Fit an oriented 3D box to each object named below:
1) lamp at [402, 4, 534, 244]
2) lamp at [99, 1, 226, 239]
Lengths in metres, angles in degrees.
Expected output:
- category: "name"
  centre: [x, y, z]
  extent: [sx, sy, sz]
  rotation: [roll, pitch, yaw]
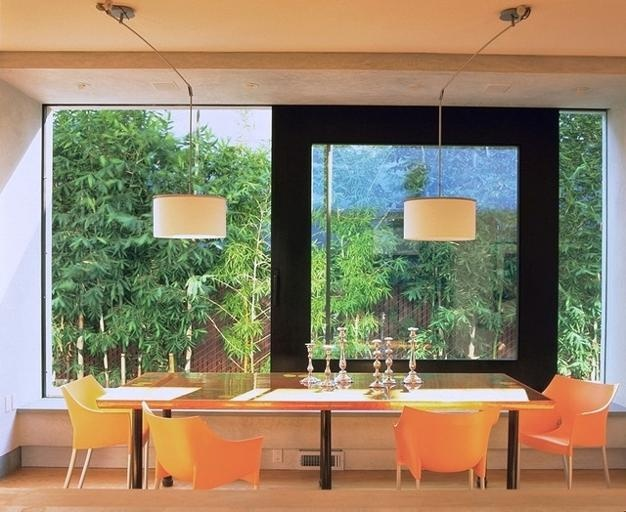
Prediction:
- category: "lamp"
  centre: [1.282, -0.923, 6.006]
  extent: [0.929, 1.643, 1.583]
  rotation: [-1, -3, 13]
- category: "lamp"
  centre: [-1.150, -0.951, 5.743]
  extent: [0.873, 1.668, 1.283]
  rotation: [0, -2, -9]
